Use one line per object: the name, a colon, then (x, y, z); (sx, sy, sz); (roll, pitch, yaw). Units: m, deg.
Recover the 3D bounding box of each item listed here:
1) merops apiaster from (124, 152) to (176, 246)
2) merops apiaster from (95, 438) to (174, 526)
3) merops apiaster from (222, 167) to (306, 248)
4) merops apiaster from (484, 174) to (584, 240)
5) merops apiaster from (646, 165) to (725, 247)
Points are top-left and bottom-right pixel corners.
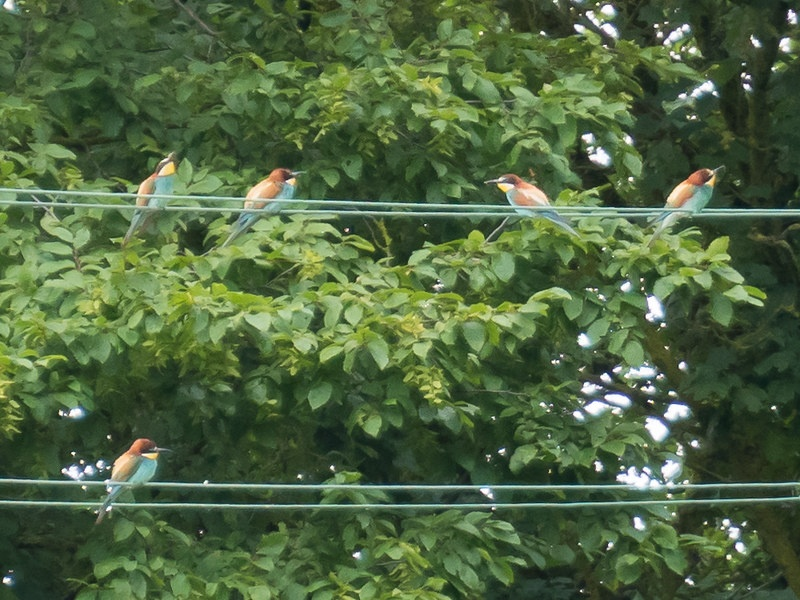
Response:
merops apiaster: (-1.598, -0.715, 11.229); (0.334, 0.719, 0.329); (4, 4, 26)
merops apiaster: (-1.732, 1.146, 10.990); (0.426, 0.607, 0.466); (2, -1, -18)
merops apiaster: (-0.944, -0.609, 11.188); (0.688, 0.315, 0.249); (-28, 13, -15)
merops apiaster: (0.892, -0.631, 11.125); (0.647, 0.286, 0.207); (16, 13, 32)
merops apiaster: (1.824, -0.574, 10.921); (0.330, 0.491, 0.298); (9, 32, 9)
